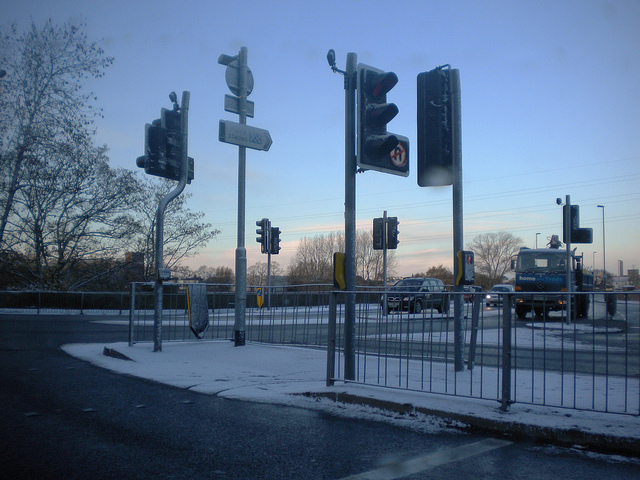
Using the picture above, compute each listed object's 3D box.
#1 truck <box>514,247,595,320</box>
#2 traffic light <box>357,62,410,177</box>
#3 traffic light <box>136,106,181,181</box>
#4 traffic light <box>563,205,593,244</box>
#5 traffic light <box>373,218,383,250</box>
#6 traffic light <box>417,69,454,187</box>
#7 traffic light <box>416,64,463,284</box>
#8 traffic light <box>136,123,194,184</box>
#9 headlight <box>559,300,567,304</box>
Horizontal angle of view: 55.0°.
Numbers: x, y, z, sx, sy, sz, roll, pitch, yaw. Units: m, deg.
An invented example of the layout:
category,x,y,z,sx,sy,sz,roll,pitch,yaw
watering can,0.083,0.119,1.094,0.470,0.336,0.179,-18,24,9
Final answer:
category,x,y,z,sx,sy,sz,roll,pitch,yaw
truck,6.418,1.055,17.251,1.090,1.493,2.643,-4,-13,30
traffic light,1.020,-1.984,10.080,0.875,1.794,0.467,0,2,-10
traffic light,-3.365,-2.070,13.111,0.241,1.503,0.905,1,2,35
traffic light,8.448,-0.450,20.107,0.807,1.511,0.374,-4,-23,33
traffic light,2.449,-0.278,25.817,0.361,1.223,0.882,0,2,8
traffic light,1.991,-1.955,10.606,0.615,2.066,0.423,0,2,9
traffic light,2.053,-1.186,10.573,0.751,3.749,0.529,0,2,9
traffic light,-3.481,-1.974,13.491,0.821,1.418,1.279,2,-3,28
headlight,3.375,0.860,8.586,0.130,0.080,0.033,0,7,-31
